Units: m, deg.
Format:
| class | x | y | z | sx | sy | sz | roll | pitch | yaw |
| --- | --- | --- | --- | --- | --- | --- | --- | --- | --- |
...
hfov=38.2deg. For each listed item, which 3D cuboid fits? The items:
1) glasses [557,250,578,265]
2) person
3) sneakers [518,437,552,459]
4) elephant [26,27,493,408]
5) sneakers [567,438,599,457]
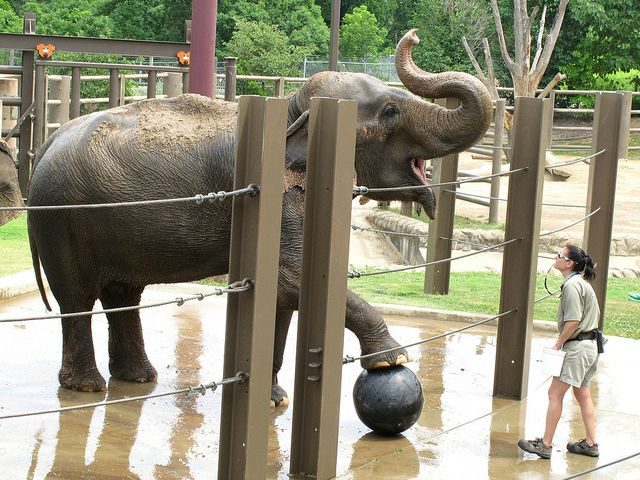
| class | x | y | z | sx | sy | sz | roll | pitch | yaw |
| --- | --- | --- | --- | --- | --- | --- | --- | --- | --- |
| glasses | 1.444 | 0.111 | 5.333 | 0.117 | 0.033 | 0.098 | 18 | 3 | 5 |
| person | 1.413 | 0.631 | 5.304 | 0.429 | 1.144 | 0.689 | 4 | 14 | 23 |
| sneakers | 1.210 | 1.170 | 5.216 | 0.217 | 0.100 | 0.076 | 22 | -9 | 15 |
| elephant | 0.068 | -0.352 | 7.048 | 4.018 | 3.129 | 1.502 | -2 | 5 | -8 |
| sneakers | 1.493 | 1.189 | 5.283 | 0.175 | 0.074 | 0.077 | 8 | 1 | 19 |
